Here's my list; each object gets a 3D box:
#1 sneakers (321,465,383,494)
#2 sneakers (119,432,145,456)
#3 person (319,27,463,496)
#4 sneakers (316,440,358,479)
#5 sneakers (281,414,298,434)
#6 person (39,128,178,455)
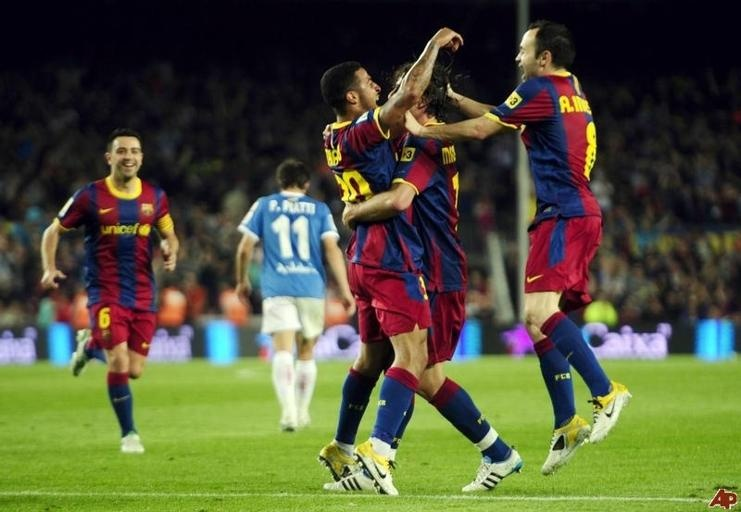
[{"bbox_3d":[-0.153,1.977,8.721,0.585,0.264,0.202,2,-7,6],"label":"sneakers"},{"bbox_3d":[-2.423,1.877,9.852,0.168,0.102,0.240,1,10,-21],"label":"sneakers"},{"bbox_3d":[0.081,0.030,8.949,1.245,4.181,0.593,-5,-5,24],"label":"person"},{"bbox_3d":[-0.301,1.885,9.059,0.238,0.506,0.193,-26,22,14],"label":"sneakers"},{"bbox_3d":[-0.904,1.831,10.783,0.165,0.179,0.184,0,13,19],"label":"sneakers"},{"bbox_3d":[-2.696,0.348,10.238,1.304,3.295,0.696,-1,-5,-12],"label":"person"}]
